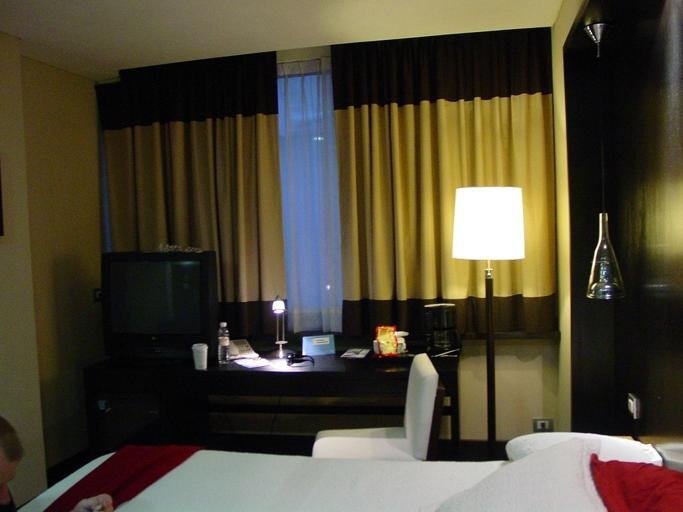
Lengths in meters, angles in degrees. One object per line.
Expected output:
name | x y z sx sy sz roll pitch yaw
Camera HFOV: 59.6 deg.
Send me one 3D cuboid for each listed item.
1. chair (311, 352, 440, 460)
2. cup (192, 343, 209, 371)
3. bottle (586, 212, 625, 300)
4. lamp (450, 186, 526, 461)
chair | 0.226 0.890 3.883 0.683 0.915 0.537 1 1 2
cup | -0.997 0.702 4.145 0.103 0.165 0.108 -4 2 0
bottle | 1.366 -0.002 3.129 0.181 0.442 0.171 -4 2 0
lamp | 1.012 0.420 3.871 0.407 1.732 0.526 -2 2 33
